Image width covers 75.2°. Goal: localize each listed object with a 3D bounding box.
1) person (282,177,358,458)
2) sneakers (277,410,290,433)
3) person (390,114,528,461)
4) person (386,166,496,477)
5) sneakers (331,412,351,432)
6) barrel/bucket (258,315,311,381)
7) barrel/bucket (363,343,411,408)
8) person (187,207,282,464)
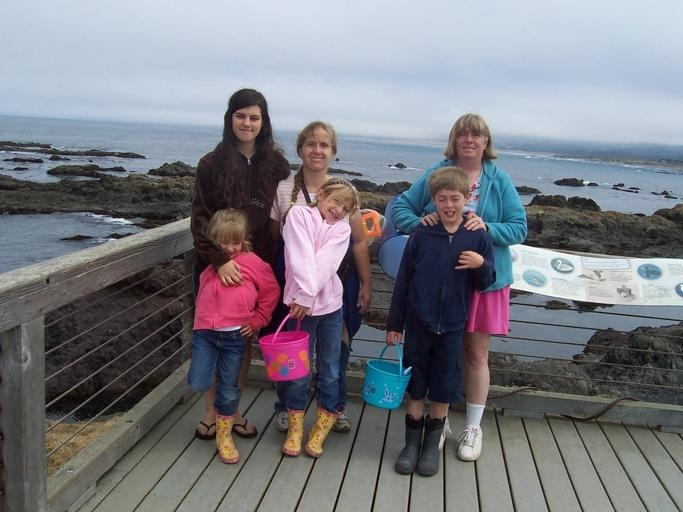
[{"bbox_3d":[-0.146,0.409,2.895,0.530,1.786,0.400,-4,15,-26],"label":"person"},{"bbox_3d":[-0.423,1.172,3.144,0.079,0.135,0.048,7,-36,-12],"label":"sneakers"},{"bbox_3d":[0.799,0.215,3.033,0.959,2.275,0.813,2,3,11],"label":"person"},{"bbox_3d":[0.595,0.425,2.771,0.632,1.913,0.465,6,14,16],"label":"person"},{"bbox_3d":[0.008,1.208,3.185,0.087,0.094,0.222,2,-18,-6],"label":"sneakers"},{"bbox_3d":[-0.368,0.553,2.787,0.353,0.386,0.339,-5,2,0],"label":"barrel/bucket"},{"bbox_3d":[0.308,0.761,2.916,0.296,0.395,0.296,12,-4,1],"label":"barrel/bucket"},{"bbox_3d":[-0.680,0.511,2.819,0.560,1.568,0.394,0,14,-8],"label":"person"}]
